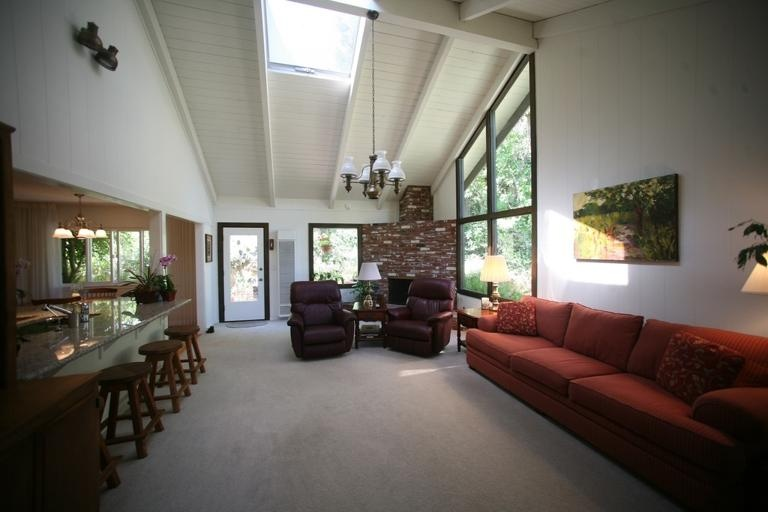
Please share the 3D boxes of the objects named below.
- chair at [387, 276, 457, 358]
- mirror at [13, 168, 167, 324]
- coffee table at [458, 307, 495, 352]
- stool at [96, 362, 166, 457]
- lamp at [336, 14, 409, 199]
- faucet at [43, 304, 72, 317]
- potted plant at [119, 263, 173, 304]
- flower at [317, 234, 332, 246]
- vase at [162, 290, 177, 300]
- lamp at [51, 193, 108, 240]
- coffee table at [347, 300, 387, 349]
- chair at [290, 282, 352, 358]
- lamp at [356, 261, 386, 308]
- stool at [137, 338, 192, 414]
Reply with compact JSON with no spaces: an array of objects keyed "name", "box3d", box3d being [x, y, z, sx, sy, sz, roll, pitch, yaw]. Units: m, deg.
[{"name":"chair","box3d":[0.583,0.942,7.526,1.010,1.107,1.001,2,2,38]},{"name":"mirror","box3d":[-4.476,-0.143,7.085,2.157,1.590,0.093,1,-4,-44]},{"name":"coffee table","box3d":[1.262,1.086,6.959,0.612,0.660,0.558,2,-1,-18]},{"name":"stool","box3d":[-2.729,1.617,4.990,0.575,0.778,0.588,-1,3,-8]},{"name":"lamp","box3d":[-0.129,-1.999,6.350,0.909,2.680,0.935,-2,-7,21]},{"name":"faucet","box3d":[-3.420,0.587,4.971,0.231,0.146,0.268,-1,2,-37]},{"name":"potted plant","box3d":[-3.107,0.396,6.288,0.510,0.400,0.476,10,5,41]},{"name":"flower","box3d":[-1.248,-0.317,10.010,0.219,0.224,0.115,3,2,-14]},{"name":"vase","box3d":[-2.881,0.544,6.403,0.130,0.117,0.157,-4,-5,27]},{"name":"lamp","box3d":[-5.119,-0.690,7.996,0.797,0.753,0.816,-2,4,-45]},{"name":"coffee table","box3d":[-0.214,1.168,7.774,0.638,0.617,0.611,-1,3,-8]},{"name":"chair","box3d":[-0.981,1.003,7.508,1.024,1.139,1.231,-2,3,-7]},{"name":"lamp","box3d":[-0.244,0.487,7.861,0.382,0.726,0.378,0,-2,-29]},{"name":"stool","box3d":[-2.656,1.441,5.695,0.595,0.698,0.614,1,3,10]}]
